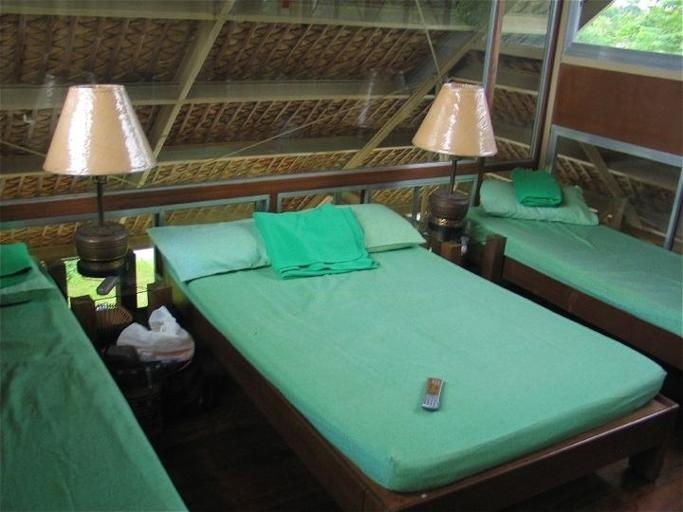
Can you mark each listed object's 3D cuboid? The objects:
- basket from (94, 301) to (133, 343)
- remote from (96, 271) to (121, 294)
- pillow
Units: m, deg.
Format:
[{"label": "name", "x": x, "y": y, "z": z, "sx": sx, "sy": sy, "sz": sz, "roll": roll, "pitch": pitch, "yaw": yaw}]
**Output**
[{"label": "basket", "x": -1.272, "y": 0.359, "z": 2.828, "sx": 0.186, "sy": 0.070, "sz": 0.206, "roll": -9, "pitch": 24, "yaw": -27}, {"label": "remote", "x": -1.275, "y": 0.146, "z": 2.770, "sx": 0.077, "sy": 0.030, "sz": 0.119, "roll": 2, "pitch": 29, "yaw": -3}, {"label": "pillow", "x": 1.580, "y": -0.398, "z": 4.136, "sx": 0.698, "sy": 0.152, "sz": 0.467, "roll": 3, "pitch": 47, "yaw": -1}]
